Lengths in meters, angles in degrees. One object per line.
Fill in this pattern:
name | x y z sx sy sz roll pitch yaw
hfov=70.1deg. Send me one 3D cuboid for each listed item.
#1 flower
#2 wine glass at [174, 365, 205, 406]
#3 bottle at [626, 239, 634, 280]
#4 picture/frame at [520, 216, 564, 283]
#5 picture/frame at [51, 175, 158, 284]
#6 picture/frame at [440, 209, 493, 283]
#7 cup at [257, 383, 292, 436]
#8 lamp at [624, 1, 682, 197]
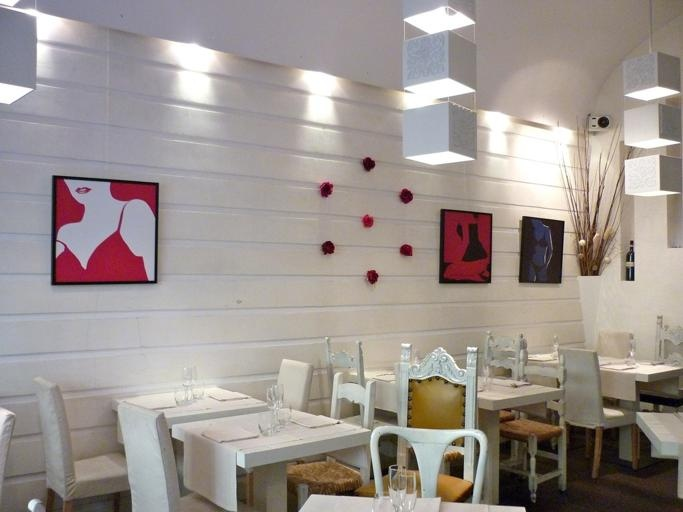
flower | 3.552 -0.832 6.819 0.819 2.187 0.391 -1 -3 20
wine glass | -1.110 0.997 3.771 0.165 0.299 0.292 0 -8 0
bottle | 3.965 0.055 6.670 0.110 0.557 0.156 -2 -4 31
picture/frame | 2.635 -0.077 6.439 0.788 0.827 0.035 8 -7 -41
picture/frame | -1.892 -0.204 3.808 0.820 0.910 0.063 2 -4 -34
picture/frame | 1.449 -0.105 5.722 0.814 0.861 0.060 4 -6 -38
cup | -0.487 0.968 3.137 0.158 0.305 0.305 1 3 17
lamp | 3.191 -1.560 5.004 0.489 1.936 1.568 -2 -4 30
